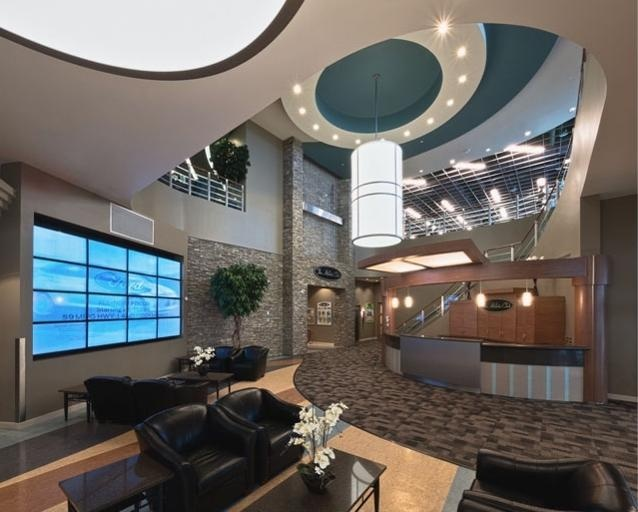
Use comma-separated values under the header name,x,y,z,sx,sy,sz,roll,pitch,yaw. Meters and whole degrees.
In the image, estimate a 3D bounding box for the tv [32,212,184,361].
name,x,y,z,sx,sy,sz,roll,pitch,yaw
tv,-4.293,0.609,8.509,0.134,1.937,3.375,-3,-5,20

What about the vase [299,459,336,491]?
name,x,y,z,sx,sy,sz,roll,pitch,yaw
vase,-0.013,2.372,4.630,0.332,0.235,0.269,-3,-5,26

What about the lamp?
name,x,y,z,sx,sy,sz,roll,pitch,yaw
lamp,1.052,-1.155,7.711,1.020,1.846,0.518,-5,-8,7

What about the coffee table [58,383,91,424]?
name,x,y,z,sx,sy,sz,roll,pitch,yaw
coffee table,-4.177,2.492,7.363,0.581,0.567,0.599,-1,-8,-6
